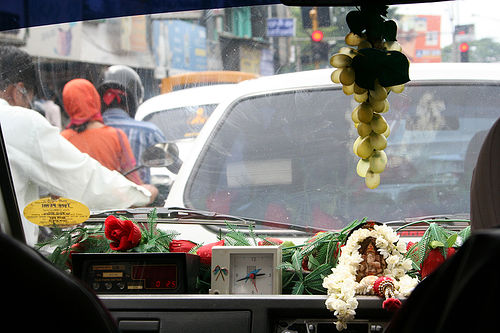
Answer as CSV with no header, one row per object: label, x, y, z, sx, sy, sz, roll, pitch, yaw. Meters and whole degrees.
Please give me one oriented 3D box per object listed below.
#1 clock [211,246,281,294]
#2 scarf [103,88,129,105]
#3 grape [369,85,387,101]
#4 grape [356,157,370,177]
clock,-0.013,0.458,4.112,0.193,0.172,0.069,0,-8,5
scarf,-0.612,-0.317,4.263,0.097,0.065,0.051,37,15,-21
grape,0.541,-0.310,3.956,0.073,0.066,0.043,1,7,2
grape,0.484,0.003,4.034,0.018,0.072,0.054,7,10,-43
